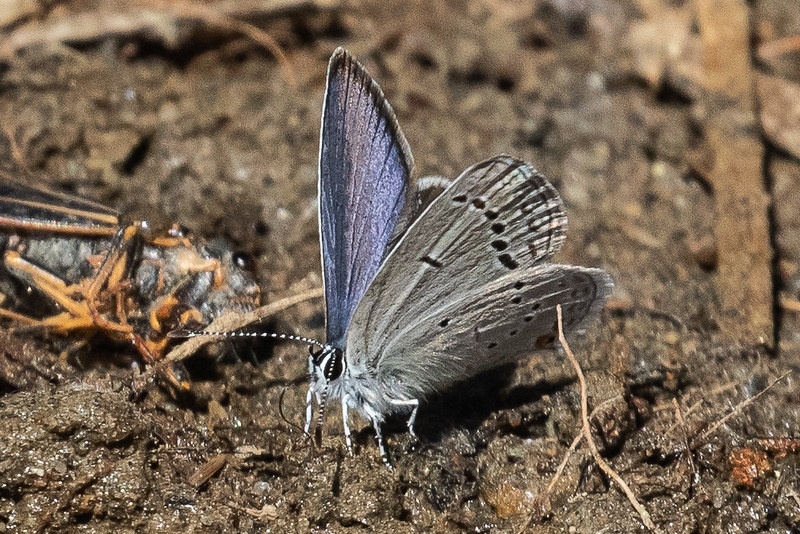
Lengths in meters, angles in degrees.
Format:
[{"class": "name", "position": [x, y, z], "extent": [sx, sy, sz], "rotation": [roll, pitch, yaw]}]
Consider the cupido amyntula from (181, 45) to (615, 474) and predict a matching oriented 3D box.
[{"class": "cupido amyntula", "position": [0.437, 0.326, 6.863], "extent": [2.098, 2.212, 2.502], "rotation": [11, -6, 3]}]
